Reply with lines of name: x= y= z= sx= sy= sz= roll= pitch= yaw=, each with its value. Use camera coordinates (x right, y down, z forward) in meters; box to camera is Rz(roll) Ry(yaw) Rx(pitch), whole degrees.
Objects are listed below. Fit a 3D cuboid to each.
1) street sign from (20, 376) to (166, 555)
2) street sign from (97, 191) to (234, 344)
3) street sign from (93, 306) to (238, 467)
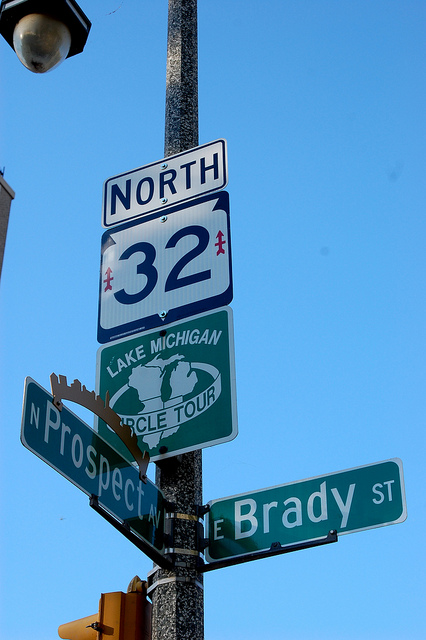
street sign: x=-0.479 y=0.607 z=5.085 sx=0.134 sy=0.580 sz=1.074 roll=-9 pitch=-19 yaw=22
street sign: x=-0.225 y=-0.232 z=6.404 sx=0.582 sy=0.680 sz=0.050 roll=-24 pitch=-45 yaw=23
street sign: x=-0.234 y=0.334 z=6.064 sx=0.698 sy=0.889 sz=0.087 roll=-15 pitch=-46 yaw=11
